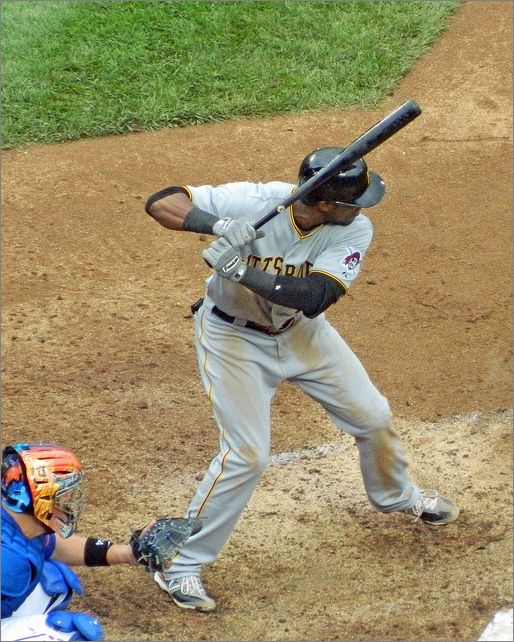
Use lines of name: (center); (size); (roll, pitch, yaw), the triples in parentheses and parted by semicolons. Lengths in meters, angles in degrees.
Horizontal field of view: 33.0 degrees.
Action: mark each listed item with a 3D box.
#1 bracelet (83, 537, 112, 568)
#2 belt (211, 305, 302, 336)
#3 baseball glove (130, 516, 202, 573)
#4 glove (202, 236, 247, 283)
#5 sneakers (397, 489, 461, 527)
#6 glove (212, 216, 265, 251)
bracelet: (-0.785, 1.152, 4.304); (0.179, 0.125, 0.120); (1, -7, -26)
belt: (-0.039, 0.026, 4.565); (0.254, 0.209, 0.055); (18, 84, 11)
baseball glove: (-0.374, 1.063, 4.125); (0.335, 0.126, 0.222); (-31, 54, -9)
glove: (-0.167, -0.282, 4.090); (0.175, 0.075, 0.223); (-39, 81, -17)
sneakers: (1.027, 1.104, 5.076); (0.372, 0.123, 0.152); (3, 61, 15)
glove: (-0.091, -0.423, 4.119); (0.215, 0.050, 0.186); (-12, 35, -30)
